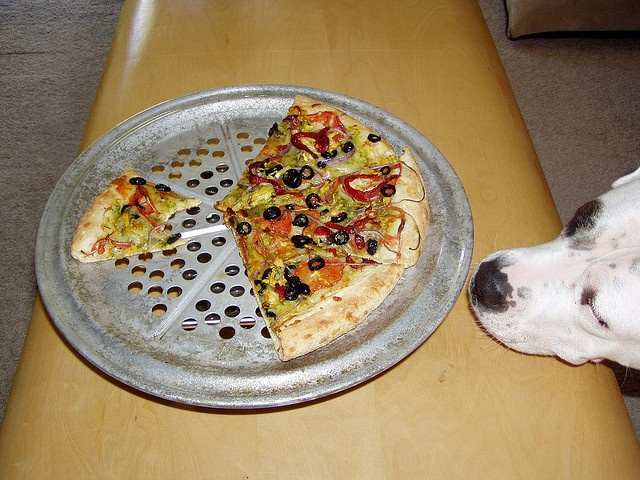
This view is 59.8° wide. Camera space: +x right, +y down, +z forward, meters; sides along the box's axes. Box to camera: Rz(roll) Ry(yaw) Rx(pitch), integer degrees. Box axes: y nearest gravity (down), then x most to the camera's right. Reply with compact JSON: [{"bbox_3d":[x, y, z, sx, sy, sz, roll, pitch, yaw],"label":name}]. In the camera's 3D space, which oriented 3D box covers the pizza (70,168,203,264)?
[{"bbox_3d":[-0.663,-0.078,1.992,0.318,0.068,0.342,13,57,0],"label":"pizza"}]
